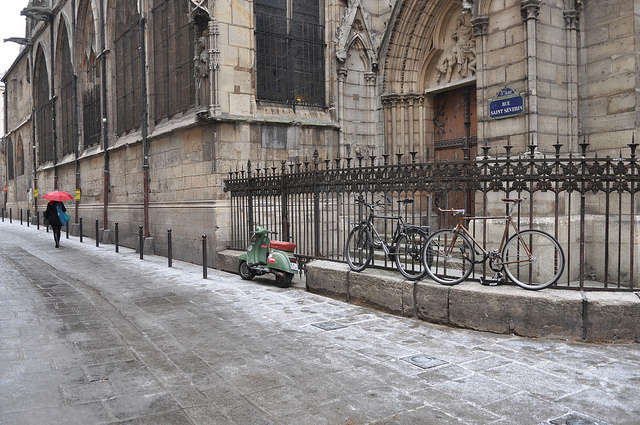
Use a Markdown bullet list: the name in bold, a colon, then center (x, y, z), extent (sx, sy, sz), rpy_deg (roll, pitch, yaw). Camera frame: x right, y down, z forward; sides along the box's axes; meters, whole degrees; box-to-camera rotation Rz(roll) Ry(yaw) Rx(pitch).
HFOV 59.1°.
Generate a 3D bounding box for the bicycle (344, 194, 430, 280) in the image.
- **bicycle**: center (1.379, 0.485, 11.811), extent (1.083, 1.622, 2.339), rpy_deg (5, -2, -44)

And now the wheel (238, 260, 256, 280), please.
- **wheel**: center (-1.817, 1.433, 14.172), extent (0.433, 0.466, 0.158), rpy_deg (-7, -7, 35)

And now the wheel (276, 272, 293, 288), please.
- **wheel**: center (-0.848, 1.576, 13.346), extent (0.142, 0.389, 0.367), rpy_deg (0, 2, -29)

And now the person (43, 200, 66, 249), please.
- **person**: center (-10.065, 0.412, 21.324), extent (0.669, 1.786, 1.126), rpy_deg (2, -3, -26)

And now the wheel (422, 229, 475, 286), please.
- **wheel**: center (2.469, 0.887, 10.899), extent (1.030, 1.165, 0.204), rpy_deg (-1, 21, 16)

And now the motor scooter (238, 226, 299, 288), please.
- **motor scooter**: center (-1.271, 1.069, 13.781), extent (0.579, 1.433, 1.672), rpy_deg (3, -4, -43)
